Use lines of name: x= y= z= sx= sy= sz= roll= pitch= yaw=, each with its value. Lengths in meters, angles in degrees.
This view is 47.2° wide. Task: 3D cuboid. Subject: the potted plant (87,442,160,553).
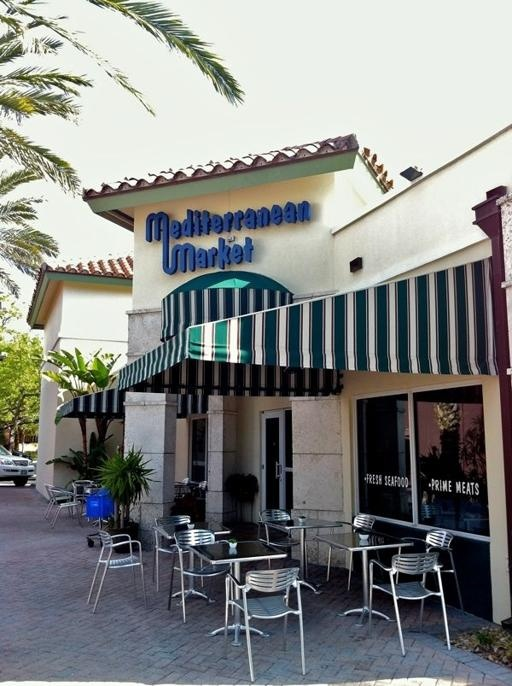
potted plant: x=-2.623 y=3.085 z=11.797 sx=1.101 sy=1.829 sz=1.070 roll=-8 pitch=-20 yaw=29

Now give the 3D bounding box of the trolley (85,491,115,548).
trolley: x=-3.482 y=3.868 z=13.042 sx=0.462 sy=1.104 sz=0.504 roll=-1 pitch=2 yaw=23
